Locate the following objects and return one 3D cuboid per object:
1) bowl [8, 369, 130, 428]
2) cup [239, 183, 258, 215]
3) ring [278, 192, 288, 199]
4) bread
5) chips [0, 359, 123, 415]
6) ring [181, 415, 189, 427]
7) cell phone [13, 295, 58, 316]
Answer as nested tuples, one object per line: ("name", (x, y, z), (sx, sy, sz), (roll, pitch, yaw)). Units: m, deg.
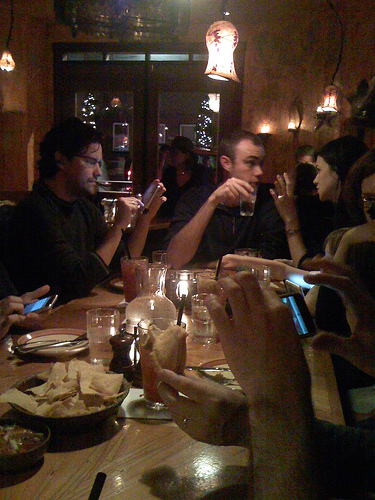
("bowl", (-0.177, 0.216, 0.645), (0.099, 0.025, 0.094), (2, 8, 0))
("cup", (0.196, -0.152, 1.400), (0.049, 0.096, 0.131), (1, 9, 8))
("ring", (0.148, -0.084, 0.673), (0.012, 0.004, 0.016), (2, -2, 10))
("bread", (-0.028, 0.155, 0.684), (0.059, 0.070, 0.029), (-9, -9, 38))
("chips", (-0.193, 0.200, 0.678), (0.102, 0.034, 0.100), (-1, 6, 23))
("ring", (-0.003, 0.236, 0.592), (0.009, 0.013, 0.014), (-1, -7, 5))
("cell phone", (-0.395, 0.144, 1.114), (0.096, 0.012, 0.051), (-19, 30, 8))
